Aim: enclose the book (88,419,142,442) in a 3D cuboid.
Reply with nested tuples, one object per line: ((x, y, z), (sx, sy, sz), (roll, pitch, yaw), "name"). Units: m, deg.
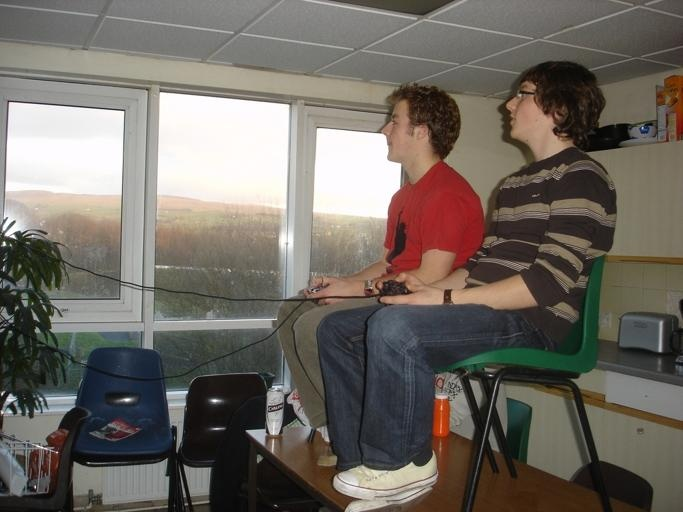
((-1.415, 1.094, 3.431), (0.233, 0.060, 0.236), (1, 1, 28), "book")

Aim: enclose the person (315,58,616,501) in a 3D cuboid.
((0.566, 0.059, 2.323), (1.105, 1.792, 0.742), (4, -5, -6), "person")

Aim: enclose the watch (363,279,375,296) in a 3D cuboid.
((0.133, 0.139, 2.409), (0.038, 0.025, 0.069), (-1, 41, 3), "watch")

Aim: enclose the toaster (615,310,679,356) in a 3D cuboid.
((2.094, 0.463, 3.747), (0.253, 0.256, 0.359), (-1, 3, -38), "toaster")

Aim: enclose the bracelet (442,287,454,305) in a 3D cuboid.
((0.407, 0.155, 2.069), (0.035, 0.053, 0.040), (1, 1, 37), "bracelet")
